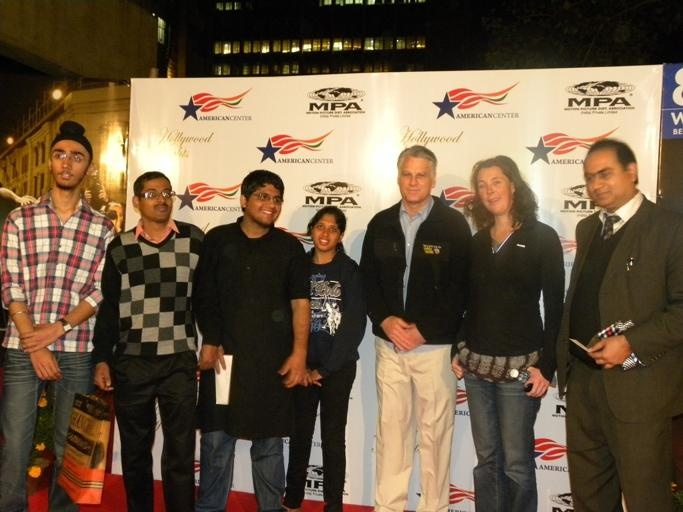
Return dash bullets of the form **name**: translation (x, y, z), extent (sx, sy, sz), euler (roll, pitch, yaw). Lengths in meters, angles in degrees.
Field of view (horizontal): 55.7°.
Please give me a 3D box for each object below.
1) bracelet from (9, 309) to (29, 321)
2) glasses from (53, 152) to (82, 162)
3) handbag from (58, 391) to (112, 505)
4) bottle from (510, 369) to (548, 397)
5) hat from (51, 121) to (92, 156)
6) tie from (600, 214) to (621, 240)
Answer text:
- **bracelet**: translation (-2.574, 0.471, 5.160), extent (0.082, 0.062, 0.081), euler (3, -27, -36)
- **glasses**: translation (-2.222, -0.804, 5.254), extent (0.221, 0.070, 0.052), euler (2, -3, -24)
- **handbag**: translation (-1.990, 1.525, 5.071), extent (0.464, 0.869, 0.229), euler (-1, -3, 30)
- **bottle**: translation (1.439, 0.977, 5.010), extent (0.279, 0.226, 0.109), euler (0, -3, 14)
- **hat**: translation (-2.245, -1.007, 5.450), extent (0.289, 0.201, 0.295), euler (15, -38, -18)
- **tie**: translation (1.995, -0.220, 4.858), extent (0.042, 0.180, 0.105), euler (7, -1, -34)
